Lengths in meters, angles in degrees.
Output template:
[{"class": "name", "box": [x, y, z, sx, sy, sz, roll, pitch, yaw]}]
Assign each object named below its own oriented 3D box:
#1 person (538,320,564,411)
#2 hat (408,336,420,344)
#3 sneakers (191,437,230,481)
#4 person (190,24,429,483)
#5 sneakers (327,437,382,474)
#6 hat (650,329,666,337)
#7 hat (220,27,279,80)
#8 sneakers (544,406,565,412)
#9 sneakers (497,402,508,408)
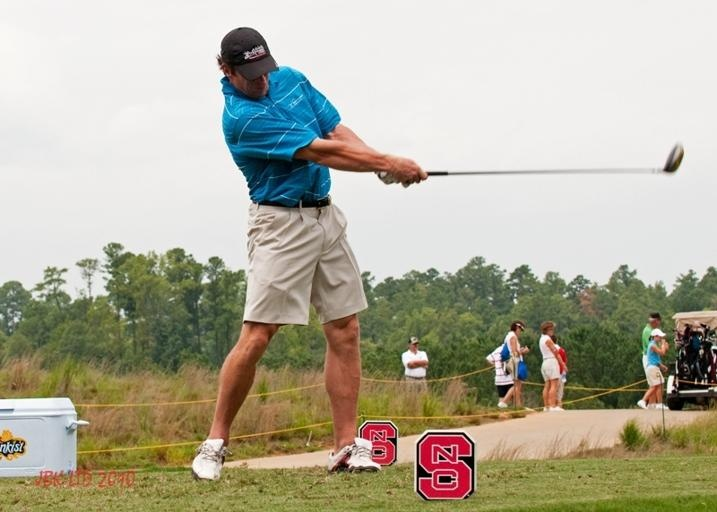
[{"class": "person", "box": [3.163, 1.826, 16.541, 0.373, 1.487, 1.129, -2, -9, 10]}, {"class": "hat", "box": [0.935, 1.487, 17.455, 0.219, 0.165, 0.297, 1, -3, -20]}, {"class": "sneakers", "box": [-1.252, 1.652, 8.242, 0.242, 0.271, 0.665, 14, 10, -8]}, {"class": "person", "box": [-0.553, -0.026, 8.351, 1.514, 3.696, 0.810, 3, -10, -18]}, {"class": "sneakers", "box": [0.033, 1.685, 8.346, 0.566, 0.267, 0.194, -7, -25, 28]}, {"class": "hat", "box": [4.958, 1.290, 16.828, 0.148, 0.088, 0.213, -2, -1, -31]}, {"class": "hat", "box": [-0.924, -1.752, 8.309, 0.410, 0.252, 0.588, -26, 46, -26]}, {"class": "sneakers", "box": [3.219, 2.555, 16.692, 0.330, 0.134, 0.113, 0, 4, 3]}, {"class": "sneakers", "box": [2.424, 2.556, 17.247, 0.097, 0.114, 0.260, 1, -15, 11]}]
